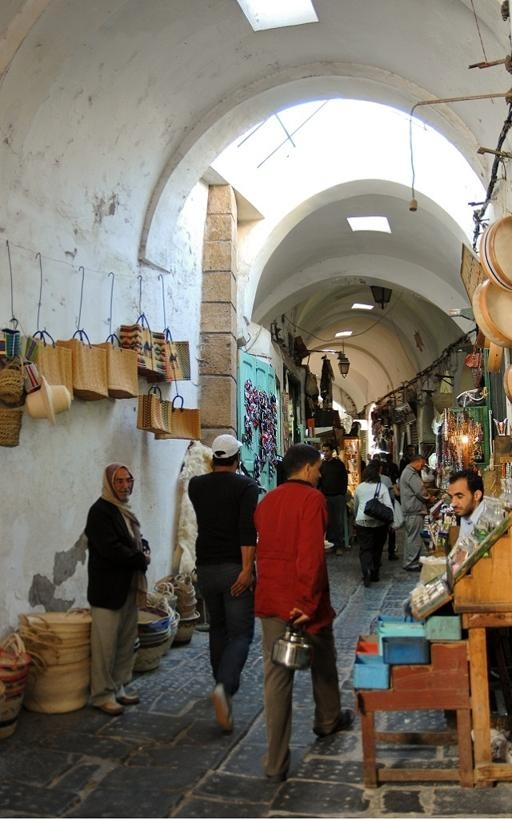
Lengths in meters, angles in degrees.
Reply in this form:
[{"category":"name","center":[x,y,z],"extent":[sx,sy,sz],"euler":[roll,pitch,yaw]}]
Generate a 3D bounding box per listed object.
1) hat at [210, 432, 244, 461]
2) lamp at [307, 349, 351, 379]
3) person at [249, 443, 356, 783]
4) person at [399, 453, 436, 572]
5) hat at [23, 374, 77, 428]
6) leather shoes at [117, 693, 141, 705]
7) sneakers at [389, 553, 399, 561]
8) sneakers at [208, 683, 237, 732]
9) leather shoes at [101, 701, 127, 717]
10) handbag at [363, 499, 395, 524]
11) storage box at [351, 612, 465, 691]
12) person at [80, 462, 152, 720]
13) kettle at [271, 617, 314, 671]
[{"category":"hat","center":[-0.180,0.224,4.168],"extent":[0.126,0.101,0.191],"euler":[0,32,13]},{"category":"lamp","center":[2.735,-1.827,24.247],"extent":[1.747,1.165,0.615],"euler":[1,-5,-3]},{"category":"person","center":[0.197,0.955,3.220],"extent":[0.407,1.571,0.758],"euler":[-2,-9,6]},{"category":"person","center":[2.369,1.482,9.316],"extent":[0.468,1.721,1.459],"euler":[-3,-9,13]},{"category":"hat","center":[-1.311,-0.077,4.019],"extent":[0.074,0.258,0.263],"euler":[7,36,18]},{"category":"leather shoes","center":[-0.824,1.851,4.061],"extent":[0.137,0.055,0.116],"euler":[0,-9,-9]},{"category":"sneakers","center":[2.353,2.496,10.755],"extent":[0.184,0.140,0.086],"euler":[-4,7,-5]},{"category":"sneakers","center":[-0.174,1.662,3.459],"extent":[0.107,0.323,0.142],"euler":[-6,8,3]},{"category":"leather shoes","center":[-0.874,1.821,3.873],"extent":[0.061,0.067,0.165],"euler":[5,-6,-29]},{"category":"handbag","center":[1.612,1.311,8.311],"extent":[0.371,0.356,0.203],"euler":[-1,-9,1]},{"category":"storage box","center":[0.692,1.073,2.899],"extent":[0.463,0.311,0.392],"euler":[-3,-9,10]},{"category":"person","center":[-0.925,1.128,4.193],"extent":[0.377,1.534,0.480],"euler":[-3,-9,13]},{"category":"kettle","center":[0.142,1.045,2.845],"extent":[0.196,0.227,0.201],"euler":[2,-15,0]}]
